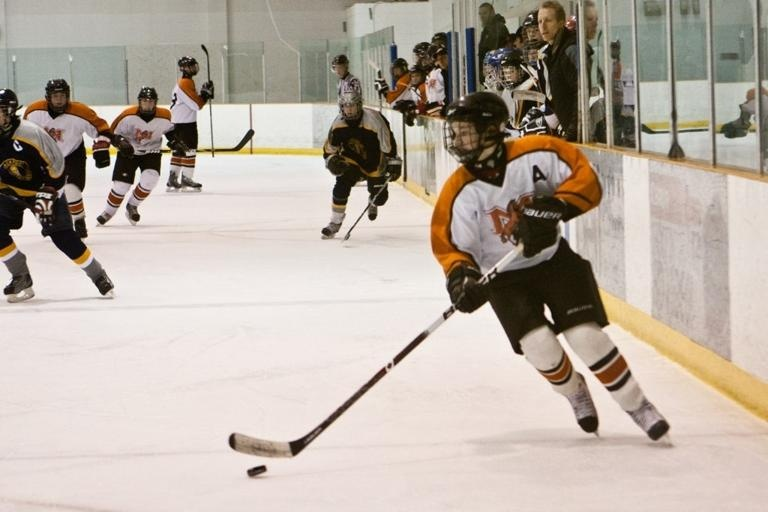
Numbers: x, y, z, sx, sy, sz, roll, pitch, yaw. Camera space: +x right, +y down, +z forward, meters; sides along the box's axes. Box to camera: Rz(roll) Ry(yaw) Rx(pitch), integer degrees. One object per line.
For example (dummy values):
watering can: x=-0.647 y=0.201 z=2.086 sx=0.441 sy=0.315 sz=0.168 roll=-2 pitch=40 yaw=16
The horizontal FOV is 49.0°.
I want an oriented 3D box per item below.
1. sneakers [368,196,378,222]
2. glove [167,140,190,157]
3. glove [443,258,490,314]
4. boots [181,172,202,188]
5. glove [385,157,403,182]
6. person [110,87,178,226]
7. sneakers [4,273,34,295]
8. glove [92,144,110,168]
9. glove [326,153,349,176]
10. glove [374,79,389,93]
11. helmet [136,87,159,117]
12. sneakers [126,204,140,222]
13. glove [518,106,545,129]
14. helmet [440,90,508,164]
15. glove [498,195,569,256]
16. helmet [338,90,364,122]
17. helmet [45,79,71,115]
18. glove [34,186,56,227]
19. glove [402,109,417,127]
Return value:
sneakers: x=-0.082 y=-0.482 z=8.576 sx=0.080 sy=0.233 sz=0.167 roll=0 pitch=6 yaw=-4
glove: x=-2.576 y=-1.358 z=10.634 sx=0.207 sy=0.081 sz=0.205 roll=5 pitch=-10 yaw=27
glove: x=0.342 y=0.136 z=3.575 sx=0.090 sy=0.204 sz=0.152 roll=-33 pitch=8 yaw=-29
boots: x=-2.541 y=-0.999 z=11.129 sx=0.242 sy=0.205 sz=0.198 roll=-4 pitch=14 yaw=-9
glove: x=0.097 y=-0.845 z=8.184 sx=0.159 sy=0.218 sz=0.080 roll=7 pitch=1 yaw=-28
person: x=-2.548 y=-1.023 z=8.660 sx=0.601 sy=1.361 sz=0.962 roll=-1 pitch=14 yaw=1
sneakers: x=-2.513 y=0.186 z=5.823 sx=0.196 sy=0.129 sz=0.113 roll=6 pitch=-10 yaw=-42
glove: x=-2.546 y=-0.893 z=7.629 sx=0.184 sy=0.241 sz=0.093 roll=5 pitch=-22 yaw=-14
glove: x=-0.448 y=-0.849 z=7.864 sx=0.122 sy=0.214 sz=0.209 roll=11 pitch=19 yaw=41
glove: x=-0.031 y=-2.274 z=11.237 sx=0.159 sy=0.106 sz=0.268 roll=-1 pitch=20 yaw=-18
helmet: x=-2.492 y=-1.617 z=8.940 sx=0.249 sy=0.331 sz=0.333 roll=-1 pitch=5 yaw=-13
sneakers: x=-2.573 y=-0.439 z=8.651 sx=0.123 sy=0.221 sz=0.197 roll=-5 pitch=15 yaw=-13
glove: x=1.027 y=-0.964 z=5.834 sx=0.231 sy=0.099 sz=0.076 roll=-16 pitch=33 yaw=34
helmet: x=0.396 y=-0.545 z=3.587 sx=0.319 sy=0.294 sz=0.243 roll=-12 pitch=8 yaw=-13
glove: x=0.649 y=-0.126 z=3.525 sx=0.209 sy=0.243 sz=0.135 roll=2 pitch=15 yaw=15
helmet: x=-0.304 y=-1.391 z=7.808 sx=0.216 sy=0.290 sz=0.213 roll=-2 pitch=14 yaw=-3
helmet: x=-2.873 y=-1.433 z=7.437 sx=0.236 sy=0.311 sz=0.311 roll=-6 pitch=23 yaw=-19
glove: x=-2.272 y=-0.340 z=5.679 sx=0.142 sy=0.242 sz=0.065 roll=-16 pitch=13 yaw=-38
glove: x=0.323 y=-1.701 z=10.326 sx=0.185 sy=0.183 sz=0.057 roll=-2 pitch=-1 yaw=44
